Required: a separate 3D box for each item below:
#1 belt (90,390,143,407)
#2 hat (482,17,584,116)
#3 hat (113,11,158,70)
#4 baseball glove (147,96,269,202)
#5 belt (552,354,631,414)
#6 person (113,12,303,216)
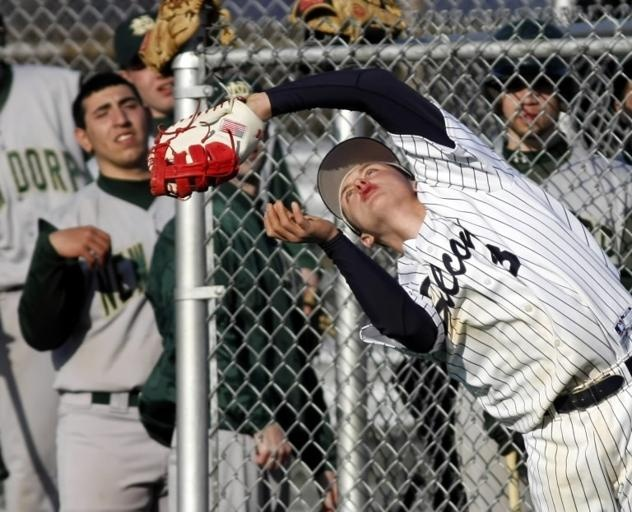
[{"bbox_3d":[-0.917,0.653,6.580,0.214,0.077,0.028,0,1,2],"label":"belt"},{"bbox_3d":[0.933,-0.817,6.349,0.315,0.243,0.454,-2,-7,5],"label":"hat"},{"bbox_3d":[-0.802,-0.955,6.433,0.123,0.177,0.277,35,-34,-1],"label":"hat"},{"bbox_3d":[-0.423,-0.407,5.292,0.359,0.477,0.207,8,-32,18],"label":"baseball glove"},{"bbox_3d":[0.988,0.495,5.300,0.241,0.065,0.181,-29,-8,8],"label":"belt"},{"bbox_3d":[-0.682,-0.684,6.463,0.667,0.977,0.351,-3,7,1],"label":"person"}]
